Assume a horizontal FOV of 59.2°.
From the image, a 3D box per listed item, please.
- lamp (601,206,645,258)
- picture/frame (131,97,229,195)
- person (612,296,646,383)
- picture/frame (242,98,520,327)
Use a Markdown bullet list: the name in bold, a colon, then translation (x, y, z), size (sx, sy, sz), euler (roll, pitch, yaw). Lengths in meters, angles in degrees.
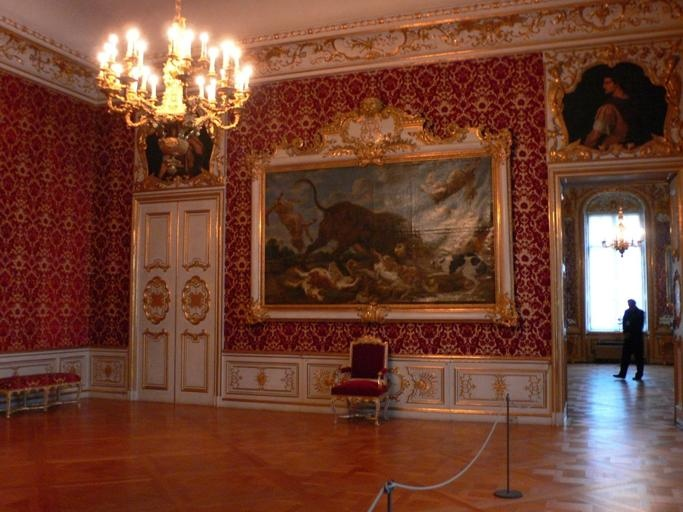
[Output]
- **lamp**: translation (8.245, -0.732, 18.100), size (1.253, 1.676, 1.282), euler (-4, 4, -25)
- **picture/frame**: translation (-2.462, -1.735, 9.528), size (1.839, 1.473, 0.071), euler (1, 2, 17)
- **person**: translation (6.795, 1.956, 14.120), size (0.560, 1.902, 1.527), euler (0, 0, 26)
- **picture/frame**: translation (0.516, -0.822, 10.269), size (4.360, 4.221, 0.134), euler (-2, -19, 10)
